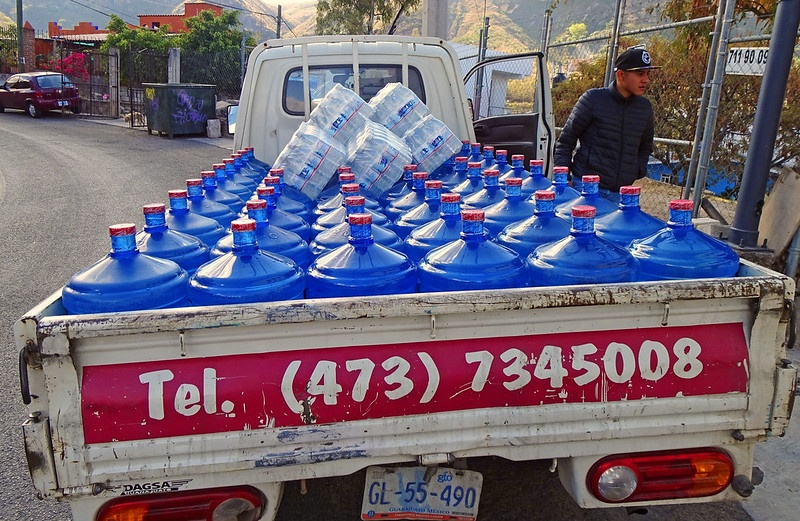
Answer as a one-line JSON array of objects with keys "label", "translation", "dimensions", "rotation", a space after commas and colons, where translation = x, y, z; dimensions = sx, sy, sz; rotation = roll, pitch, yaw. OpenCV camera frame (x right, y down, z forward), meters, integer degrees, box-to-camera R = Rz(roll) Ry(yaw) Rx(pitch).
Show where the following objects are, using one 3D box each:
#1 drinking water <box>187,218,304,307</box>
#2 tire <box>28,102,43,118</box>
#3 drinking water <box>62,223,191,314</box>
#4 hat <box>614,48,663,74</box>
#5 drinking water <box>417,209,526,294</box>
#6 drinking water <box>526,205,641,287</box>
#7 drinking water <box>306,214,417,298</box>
[{"label": "drinking water", "translation": [-0.782, -0.013, 3.726], "dimensions": [0.502, 0.351, 0.503], "rotation": [6, 14, 28]}, {"label": "tire", "translation": [-14.254, -5.983, 27.528], "dimensions": [0.569, 0.550, 0.238], "rotation": [-12, 7, 36]}, {"label": "drinking water", "translation": [-1.401, -0.006, 3.686], "dimensions": [0.514, 0.359, 0.519], "rotation": [3, 5, 31]}, {"label": "hat", "translation": [2.085, -1.805, 6.301], "dimensions": [0.220, 0.143, 0.319], "rotation": [-26, 33, -38]}, {"label": "drinking water", "translation": [0.373, -0.065, 3.768], "dimensions": [0.492, 0.339, 0.478], "rotation": [-12, 17, -41]}, {"label": "drinking water", "translation": [0.960, -0.041, 3.801], "dimensions": [0.490, 0.351, 0.470], "rotation": [-11, 18, -30]}, {"label": "drinking water", "translation": [-0.214, -0.073, 3.694], "dimensions": [0.508, 0.349, 0.484], "rotation": [-3, 17, -9]}]
